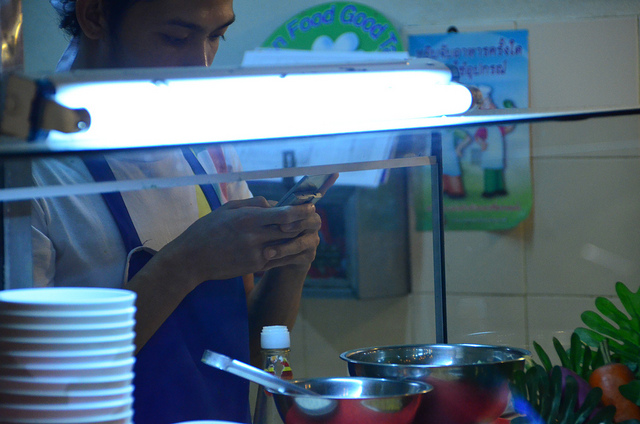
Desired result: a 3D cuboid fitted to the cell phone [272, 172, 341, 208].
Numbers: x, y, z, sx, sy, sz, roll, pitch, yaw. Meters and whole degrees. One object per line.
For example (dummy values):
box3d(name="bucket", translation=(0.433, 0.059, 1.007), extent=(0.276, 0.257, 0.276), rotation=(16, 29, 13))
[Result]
box3d(name="cell phone", translation=(-0.023, -0.035, 1.263), extent=(0.073, 0.057, 0.160), rotation=(-1, 2, -19))

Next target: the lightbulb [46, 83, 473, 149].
box3d(name="lightbulb", translation=(-0.060, -0.137, 1.068), extent=(0.609, 0.100, 0.044), rotation=(-1, 2, -17))

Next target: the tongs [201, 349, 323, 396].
box3d(name="tongs", translation=(-0.086, 0.248, 1.135), extent=(0.181, 0.023, 0.031), rotation=(18, 7, 3))
